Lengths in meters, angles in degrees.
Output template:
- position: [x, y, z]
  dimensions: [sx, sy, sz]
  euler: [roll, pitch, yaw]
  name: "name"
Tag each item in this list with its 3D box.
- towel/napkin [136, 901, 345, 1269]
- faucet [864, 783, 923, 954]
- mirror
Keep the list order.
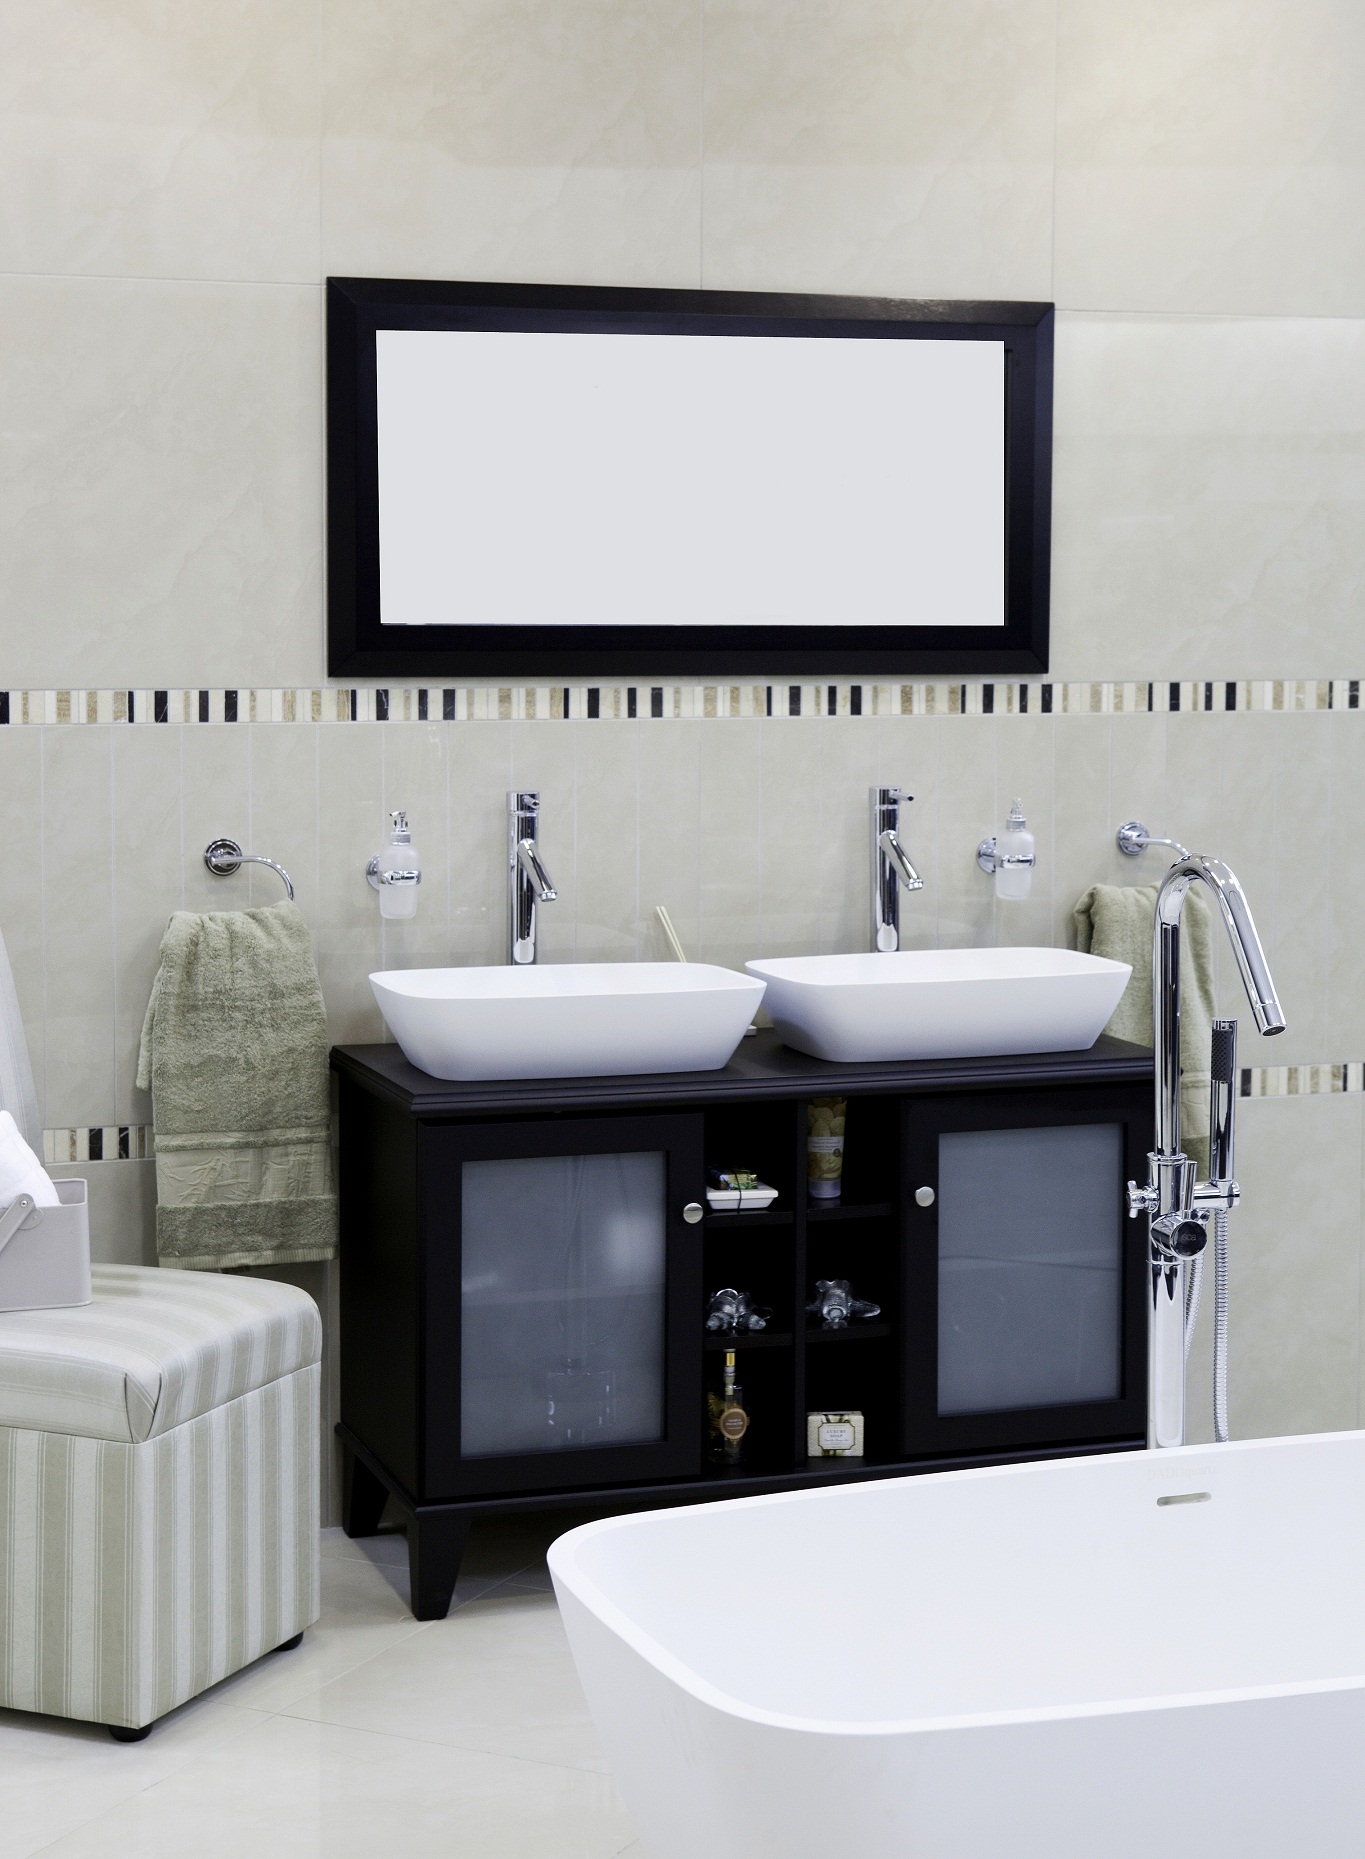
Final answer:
- position: [-0.662, 0.242, 3.163]
  dimensions: [0.286, 0.689, 0.096]
  euler: [-1, 33, -12]
  name: "towel/napkin"
- position: [0.344, -0.095, 3.411]
  dimensions: [0.074, 0.270, 0.269]
  euler: [1, 1, 6]
  name: "faucet"
- position: [0.040, -0.710, 3.369]
  dimensions: [1.198, 0.653, 0.061]
  euler: [1, 1, -16]
  name: "mirror"
